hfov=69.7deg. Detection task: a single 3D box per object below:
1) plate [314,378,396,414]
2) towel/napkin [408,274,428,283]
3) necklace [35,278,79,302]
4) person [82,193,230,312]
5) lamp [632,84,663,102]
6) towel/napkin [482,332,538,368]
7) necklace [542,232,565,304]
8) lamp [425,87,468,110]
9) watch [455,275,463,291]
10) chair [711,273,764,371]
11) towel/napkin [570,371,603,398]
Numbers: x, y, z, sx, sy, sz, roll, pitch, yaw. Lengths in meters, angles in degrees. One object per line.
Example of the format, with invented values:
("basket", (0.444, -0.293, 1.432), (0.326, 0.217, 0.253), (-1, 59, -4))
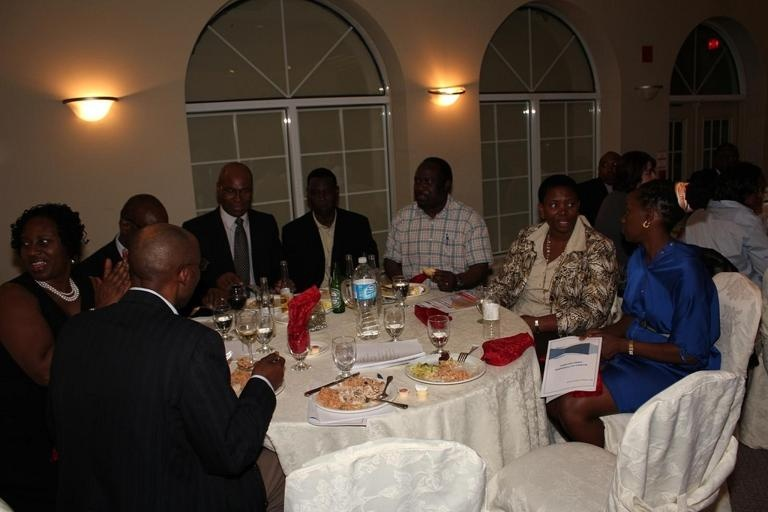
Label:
("plate", (-0.179, 0.669, 2.675), (0.367, 0.118, 0.202), (-4, 6, 1))
("towel/napkin", (0.269, 0.167, 4.350), (0.140, 0.090, 0.251), (-4, 6, 5))
("necklace", (-1.854, 0.201, 3.174), (0.135, 0.033, 0.123), (33, 14, -39))
("person", (-1.443, -0.022, 3.452), (0.817, 0.572, 0.426), (-6, 26, -39))
("lamp", (3.573, -2.205, 7.366), (0.544, 0.230, 0.186), (-8, 8, -36))
("towel/napkin", (0.639, 0.497, 3.025), (0.233, 0.085, 0.417), (17, 15, 37))
("necklace", (1.178, 0.079, 3.933), (0.083, 0.383, 0.229), (2, -6, -5))
("lamp", (0.723, -1.766, 6.048), (0.500, 0.223, 0.160), (-7, 7, -30))
("watch", (0.573, 0.195, 4.211), (0.027, 0.095, 0.100), (-4, -16, 6))
("chair", (2.036, 0.394, 3.195), (0.225, 0.585, 0.243), (0, 8, 31))
("towel/napkin", (1.191, 0.728, 3.202), (0.146, 0.153, 0.047), (-5, 2, 6))
